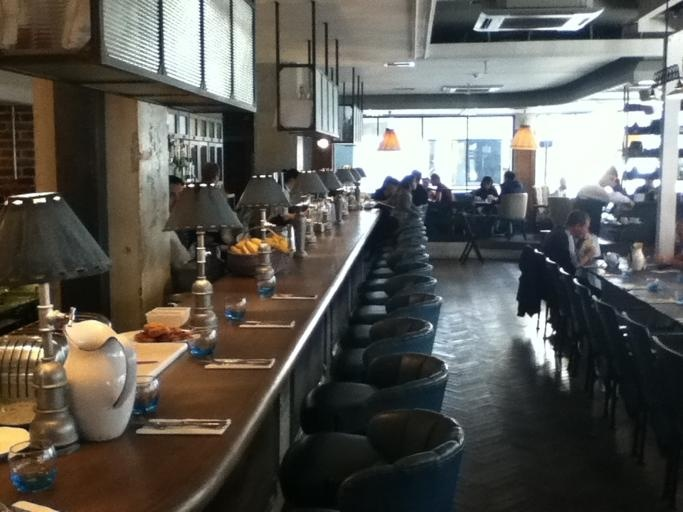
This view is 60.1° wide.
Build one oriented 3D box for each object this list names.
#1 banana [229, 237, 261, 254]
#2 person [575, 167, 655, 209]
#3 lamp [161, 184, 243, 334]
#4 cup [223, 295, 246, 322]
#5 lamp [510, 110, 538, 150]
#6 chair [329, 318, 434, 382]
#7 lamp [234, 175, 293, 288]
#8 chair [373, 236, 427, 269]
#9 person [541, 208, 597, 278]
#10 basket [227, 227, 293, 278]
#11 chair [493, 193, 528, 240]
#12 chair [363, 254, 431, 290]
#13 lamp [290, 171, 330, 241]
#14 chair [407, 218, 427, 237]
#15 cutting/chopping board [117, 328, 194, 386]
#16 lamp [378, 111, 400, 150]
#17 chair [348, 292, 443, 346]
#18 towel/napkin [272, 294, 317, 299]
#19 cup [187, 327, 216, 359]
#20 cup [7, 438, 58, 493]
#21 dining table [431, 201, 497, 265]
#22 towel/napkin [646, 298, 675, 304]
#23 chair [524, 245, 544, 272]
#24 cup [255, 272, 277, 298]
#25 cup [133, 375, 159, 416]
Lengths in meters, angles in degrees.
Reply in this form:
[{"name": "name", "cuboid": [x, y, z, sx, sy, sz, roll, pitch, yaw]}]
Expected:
[{"name": "banana", "cuboid": [-0.691, -0.065, 4.316, 0.147, 0.075, 0.170, -3, 10, -7]}, {"name": "person", "cuboid": [5.066, -1.265, 11.303, 1.036, 0.676, 1.050, -2, 11, -25]}, {"name": "lamp", "cuboid": [-0.716, -0.012, 3.075, 0.378, 0.738, 0.830, -2, 10, -12]}, {"name": "cup", "cuboid": [-0.567, 0.291, 3.208, 0.119, 0.132, 0.120, 2, -4, 0]}, {"name": "lamp", "cuboid": [3.918, -2.741, 12.610, 0.559, 0.991, 0.524, 5, -6, 25]}, {"name": "chair", "cuboid": [0.222, 0.583, 3.528, 0.459, 0.447, 0.467, 17, 4, -17]}, {"name": "lamp", "cuboid": [-0.564, -0.146, 4.307, 0.372, 0.831, 0.381, -4, -2, 37]}, {"name": "chair", "cuboid": [0.770, -0.012, 6.301, 0.368, 0.332, 0.293, -10, -3, 24]}, {"name": "person", "cuboid": [2.624, -0.035, 6.732, 0.461, 0.868, 0.411, 6, -12, 27]}, {"name": "basket", "cuboid": [-0.609, -0.036, 4.424, 0.292, 0.181, 0.432, 1, 10, 3]}, {"name": "chair", "cuboid": [3.770, -0.954, 13.179, 0.619, 1.004, 1.274, 3, 10, 15]}, {"name": "chair", "cuboid": [0.490, 0.243, 5.097, 0.488, 0.441, 0.389, 3, 12, 5]}, {"name": "lamp", "cuboid": [-0.362, -0.551, 6.380, 0.411, 0.741, 0.411, -2, 1, 8]}, {"name": "chair", "cuboid": [0.999, -0.378, 8.030, 0.294, 0.160, 0.412, 1, 10, 10]}, {"name": "cutting/chopping board", "cuboid": [-0.854, 0.456, 2.642, 0.459, 0.289, 0.020, 0, -5, 31]}, {"name": "lamp", "cuboid": [1.153, -2.960, 14.183, 0.566, 0.942, 0.512, 2, -1, -19]}, {"name": "chair", "cuboid": [0.382, 0.478, 4.150, 0.474, 0.453, 0.486, 7, 13, 3]}, {"name": "towel/napkin", "cuboid": [-0.288, 0.251, 3.633, 0.283, 0.015, 0.101, 1, 10, 1]}, {"name": "cup", "cuboid": [-0.628, 0.384, 2.671, 0.126, 0.131, 0.122, 2, -1, 0]}, {"name": "cup", "cuboid": [-0.911, 0.613, 1.735, 0.149, 0.133, 0.093, 6, 11, 32]}, {"name": "dining table", "cuboid": [2.675, -0.683, 12.990, 1.363, 1.538, 1.299, 1, 0, 2]}, {"name": "towel/napkin", "cuboid": [2.551, 0.356, 4.711, 0.260, 0.008, 0.168, 0, 10, 1]}, {"name": "chair", "cuboid": [2.187, 0.032, 6.738, 0.233, 0.296, 0.223, 0, 11, -9]}, {"name": "cup", "cuboid": [-0.477, 0.188, 3.772, 0.131, 0.144, 0.134, 1, -2, 0]}, {"name": "cup", "cuboid": [-0.694, 0.509, 2.185, 0.116, 0.149, 0.120, 1, 2, 0]}]
